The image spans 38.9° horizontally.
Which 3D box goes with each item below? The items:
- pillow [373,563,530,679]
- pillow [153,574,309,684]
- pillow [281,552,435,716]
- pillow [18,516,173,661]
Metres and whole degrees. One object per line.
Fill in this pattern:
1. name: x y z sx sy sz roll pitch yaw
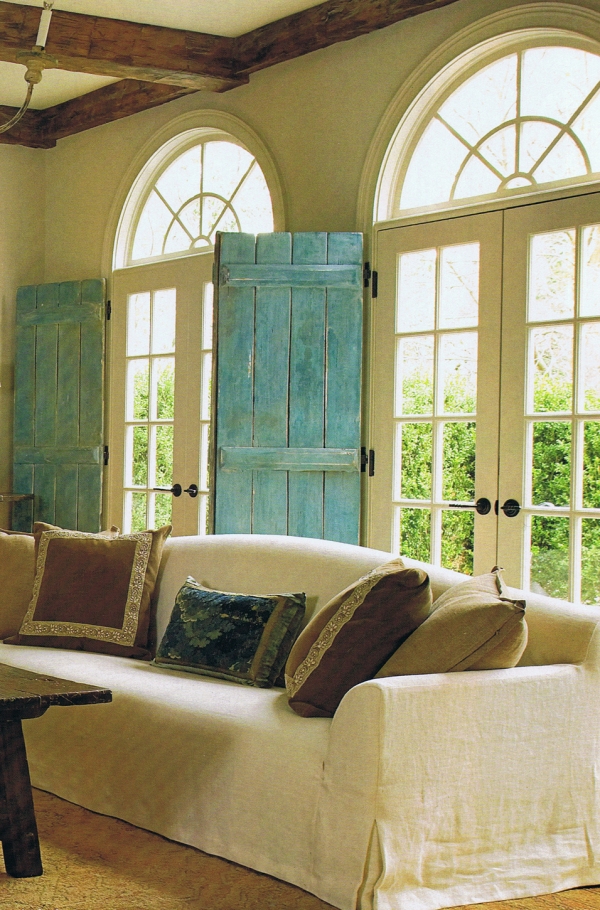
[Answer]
1. pillow: 0.345 0.397 1.906 0.318 0.204 0.464 1 1 15
2. pillow: -0.210 0.512 2.483 0.501 0.278 0.177 -1 -13 39
3. pillow: 0.145 0.464 2.124 0.327 0.352 0.513 8 -11 2
4. pillow: -0.707 0.435 2.886 0.514 0.406 0.242 1 0 15
